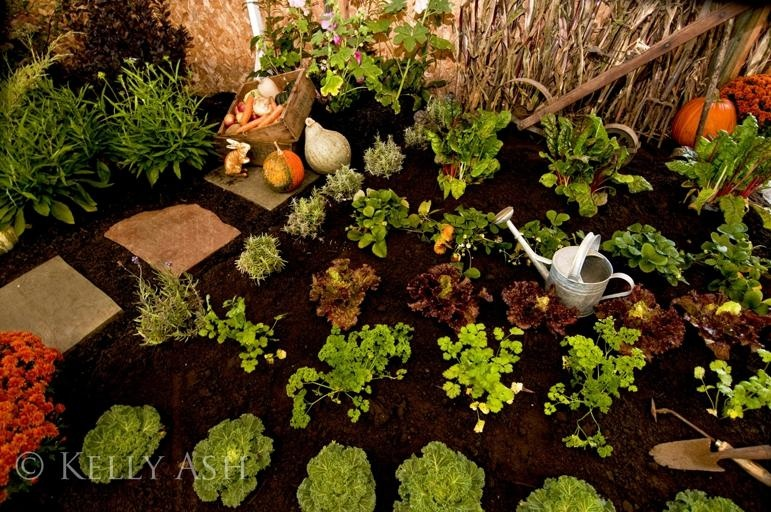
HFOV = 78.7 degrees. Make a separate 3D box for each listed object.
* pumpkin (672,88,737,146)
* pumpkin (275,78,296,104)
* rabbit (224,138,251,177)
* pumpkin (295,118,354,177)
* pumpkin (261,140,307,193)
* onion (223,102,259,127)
[{"bbox_3d":[3.278,-1.488,5.033,0.516,0.527,0.603,-4,30,-10],"label":"pumpkin"},{"bbox_3d":[-1.149,-1.911,5.479,0.295,0.125,0.271,-55,16,2],"label":"pumpkin"},{"bbox_3d":[-1.659,-1.110,5.270,0.331,0.393,0.236,-13,28,-26],"label":"rabbit"},{"bbox_3d":[-0.667,-1.230,5.247,0.503,0.683,0.510,-27,30,12],"label":"pumpkin"},{"bbox_3d":[-1.082,-0.937,5.083,0.309,0.425,0.474,25,56,23],"label":"pumpkin"},{"bbox_3d":[-1.652,-1.564,5.428,0.333,0.117,0.282,-29,47,-10],"label":"onion"}]
